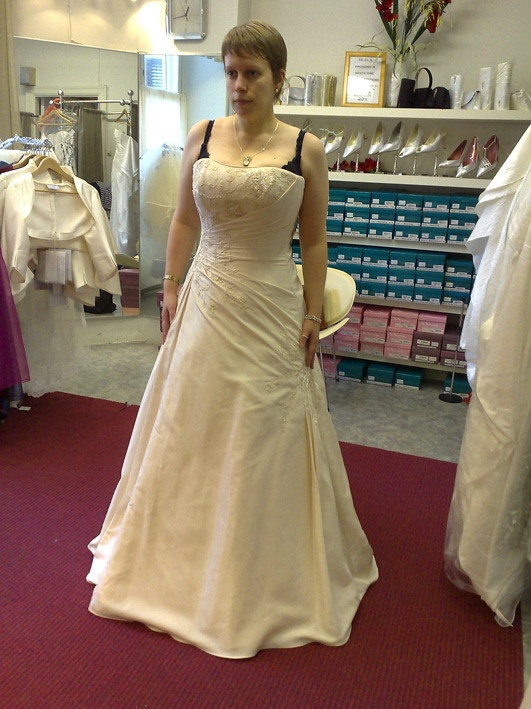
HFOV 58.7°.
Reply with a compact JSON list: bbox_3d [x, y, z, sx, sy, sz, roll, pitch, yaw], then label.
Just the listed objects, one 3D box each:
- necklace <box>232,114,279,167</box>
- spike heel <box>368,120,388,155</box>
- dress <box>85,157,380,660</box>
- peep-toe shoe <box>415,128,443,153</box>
[{"bbox_3d":[-0.022,-0.515,1.140,0.112,0.142,0.105,3,7,-6],"label":"necklace"},{"bbox_3d":[0.785,-1.507,3.315,0.090,0.270,0.105,14,-10,38],"label":"spike heel"},{"bbox_3d":[-0.059,0.045,1.296,0.745,1.068,0.703,1,12,2],"label":"dress"},{"bbox_3d":[1.128,-1.458,3.199,0.145,0.163,0.169,9,9,40],"label":"peep-toe shoe"}]
